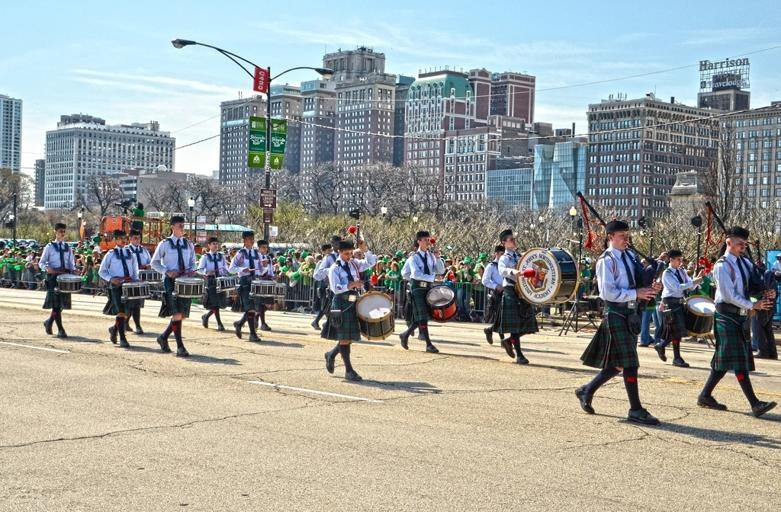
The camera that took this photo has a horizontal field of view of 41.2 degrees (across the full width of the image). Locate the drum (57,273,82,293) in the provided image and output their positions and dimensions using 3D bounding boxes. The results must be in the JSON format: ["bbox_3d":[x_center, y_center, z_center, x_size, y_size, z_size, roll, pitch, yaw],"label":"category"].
[{"bbox_3d":[-6.846,0.574,22.141,0.417,0.266,0.412,1,1,0],"label":"drum"}]

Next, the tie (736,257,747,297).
[{"bbox_3d":[5.401,0.310,15.878,0.117,0.582,0.184,-7,12,-35],"label":"tie"}]

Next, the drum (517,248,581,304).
[{"bbox_3d":[3.031,0.396,20.024,1.344,1.197,0.931,1,0,-4],"label":"drum"}]

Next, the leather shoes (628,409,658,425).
[{"bbox_3d":[3.715,2.355,15.253,0.376,0.149,0.190,0,2,24],"label":"leather shoes"}]

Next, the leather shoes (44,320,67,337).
[{"bbox_3d":[-7.296,1.576,22.510,0.527,0.214,0.170,24,13,18],"label":"leather shoes"}]

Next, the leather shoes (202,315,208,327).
[{"bbox_3d":[-4.367,1.539,24.427,0.174,0.385,0.135,0,21,0],"label":"leather shoes"}]

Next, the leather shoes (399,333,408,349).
[{"bbox_3d":[0.283,1.740,21.307,0.170,0.337,0.128,-3,42,4],"label":"leather shoes"}]

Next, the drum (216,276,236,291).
[{"bbox_3d":[-3.736,0.620,23.662,0.431,0.297,0.281,1,1,-31],"label":"drum"}]

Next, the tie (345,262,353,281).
[{"bbox_3d":[-0.717,0.266,17.943,0.138,0.294,0.177,-7,12,-36],"label":"tie"}]

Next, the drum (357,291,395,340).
[{"bbox_3d":[-0.267,1.049,17.943,0.604,0.756,0.642,0,10,0],"label":"drum"}]

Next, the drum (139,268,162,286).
[{"bbox_3d":[-5.246,0.459,22.659,0.375,0.189,0.359,5,6,-1],"label":"drum"}]

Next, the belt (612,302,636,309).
[{"bbox_3d":[3.501,0.733,15.568,0.337,0.105,0.051,0,10,2],"label":"belt"}]

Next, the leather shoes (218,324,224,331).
[{"bbox_3d":[-3.948,1.673,24.197,0.070,0.121,0.197,2,-17,-16],"label":"leather shoes"}]

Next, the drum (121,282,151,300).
[{"bbox_3d":[-5.267,0.711,21.418,0.416,0.233,0.400,1,2,0],"label":"drum"}]

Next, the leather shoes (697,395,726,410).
[{"bbox_3d":[4.964,2.260,16.076,0.439,0.197,0.177,5,2,4],"label":"leather shoes"}]

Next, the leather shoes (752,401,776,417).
[{"bbox_3d":[5.601,2.270,15.562,0.382,0.169,0.180,-24,-6,42],"label":"leather shoes"}]

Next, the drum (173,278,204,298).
[{"bbox_3d":[-4.029,0.598,20.565,0.447,0.252,0.433,1,4,0],"label":"drum"}]

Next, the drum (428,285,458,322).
[{"bbox_3d":[1.095,1.041,21.120,0.672,0.679,0.544,0,-35,15],"label":"drum"}]
